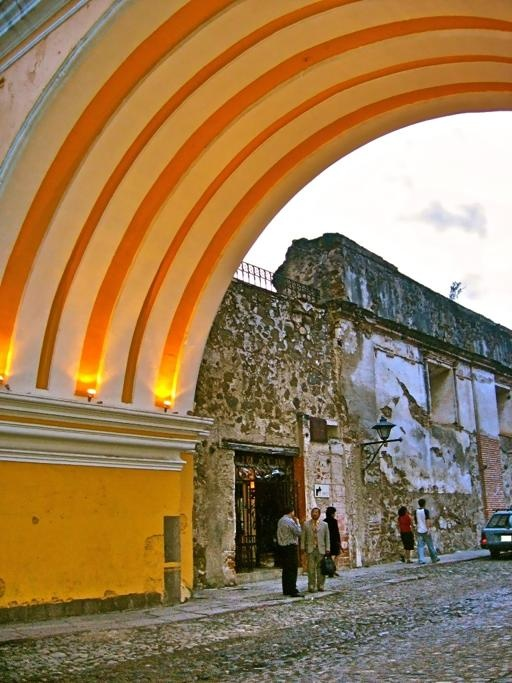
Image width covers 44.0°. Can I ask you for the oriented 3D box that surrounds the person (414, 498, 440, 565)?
[{"bbox_3d":[4.007,4.482,15.117,0.429,1.462,1.610,-6,-19,12],"label":"person"}]

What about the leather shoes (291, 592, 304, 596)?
[{"bbox_3d":[0.592,3.699,9.319,0.087,0.050,0.142,-10,-20,30],"label":"leather shoes"}]

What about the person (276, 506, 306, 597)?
[{"bbox_3d":[0.514,3.207,9.748,0.348,1.271,0.787,-3,-19,1],"label":"person"}]

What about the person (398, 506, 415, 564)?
[{"bbox_3d":[3.507,4.507,14.868,0.288,1.260,1.025,-6,-19,11],"label":"person"}]
